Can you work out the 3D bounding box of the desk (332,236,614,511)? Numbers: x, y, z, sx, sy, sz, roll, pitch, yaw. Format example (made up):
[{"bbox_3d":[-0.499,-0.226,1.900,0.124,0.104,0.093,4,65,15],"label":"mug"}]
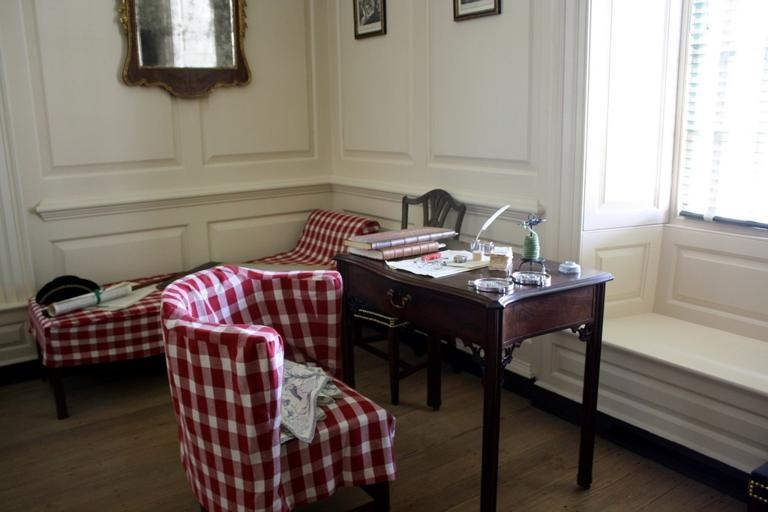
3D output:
[{"bbox_3d":[0.464,0.307,3.357,1.242,1.524,1.830,-7,12,-34],"label":"desk"}]

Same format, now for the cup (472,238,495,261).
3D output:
[{"bbox_3d":[0.540,-0.030,3.033,0.087,0.110,0.145,-5,10,-33],"label":"cup"}]

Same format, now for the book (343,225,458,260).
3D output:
[{"bbox_3d":[0.112,-0.083,3.185,0.456,0.075,0.267,-11,16,-41],"label":"book"}]
